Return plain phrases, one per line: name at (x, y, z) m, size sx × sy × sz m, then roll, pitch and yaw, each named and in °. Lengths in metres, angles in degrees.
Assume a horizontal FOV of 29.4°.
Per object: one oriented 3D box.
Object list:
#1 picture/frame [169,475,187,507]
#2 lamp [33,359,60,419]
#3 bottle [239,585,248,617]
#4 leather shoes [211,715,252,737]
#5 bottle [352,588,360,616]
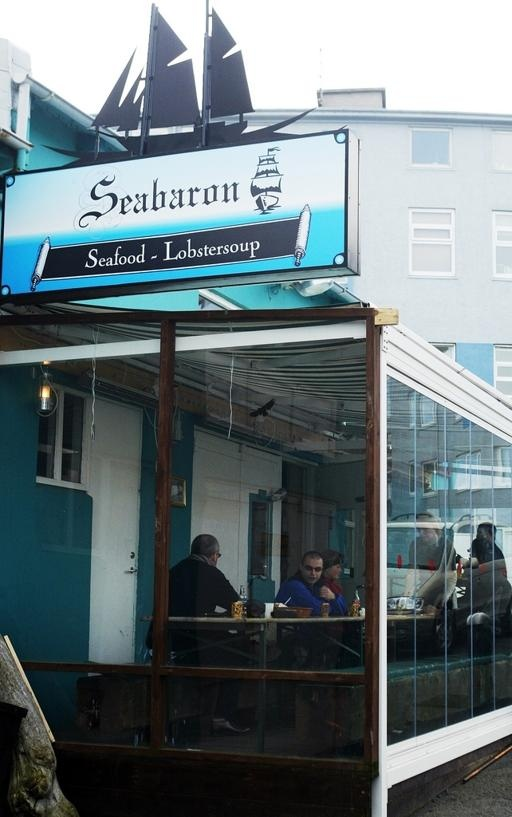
picture/frame at (-0.442, 0.482, 5.539) m, size 0.167 × 0.190 × 0.021 m, roll -3°, pitch -17°, yaw 14°
lamp at (-1.289, -0.108, 5.959) m, size 0.158 × 0.367 × 0.082 m, roll -8°, pitch -12°, yaw 40°
bottle at (-0.066, 1.052, 5.302) m, size 0.044 × 0.167 × 0.035 m, roll 0°, pitch -9°, yaw -1°
leather shoes at (-0.141, 1.696, 5.230) m, size 0.134 × 0.055 × 0.100 m, roll 11°, pitch -12°, yaw -1°
bottle at (0.533, 1.030, 5.139) m, size 0.046 × 0.132 × 0.009 m, roll -5°, pitch -10°, yaw 29°
